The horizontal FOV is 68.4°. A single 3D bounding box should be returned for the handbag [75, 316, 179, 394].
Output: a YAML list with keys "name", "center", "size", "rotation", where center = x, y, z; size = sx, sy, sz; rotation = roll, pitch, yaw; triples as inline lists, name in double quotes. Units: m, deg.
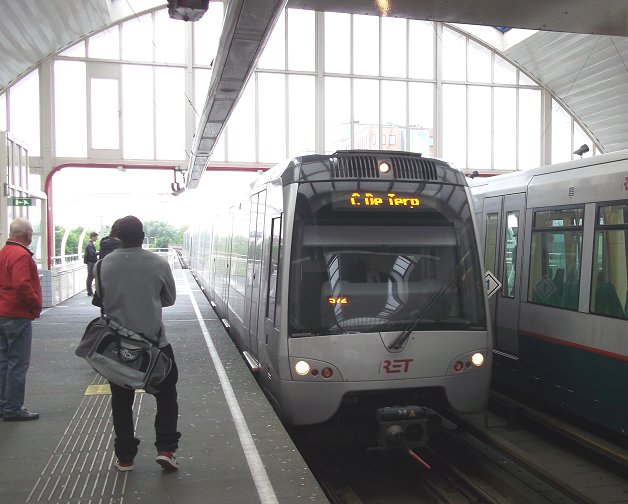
- name: "handbag"
  center: [-1.503, 0.687, 3.966]
  size: [0.657, 0.442, 1.119]
  rotation: [20, 11, -19]

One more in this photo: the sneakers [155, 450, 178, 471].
- name: "sneakers"
  center: [-1.181, 1.669, 3.718]
  size: [0.100, 0.127, 0.294]
  rotation: [0, -28, 5]

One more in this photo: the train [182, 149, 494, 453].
- name: "train"
  center: [-0.038, 0.578, 5.936]
  size: [1.982, 3.596, 3.953]
  rotation: [-2, 4, -40]
